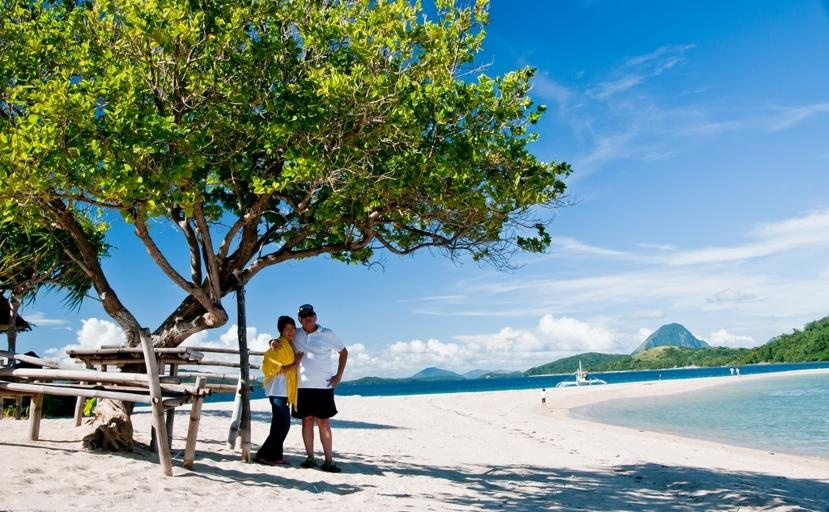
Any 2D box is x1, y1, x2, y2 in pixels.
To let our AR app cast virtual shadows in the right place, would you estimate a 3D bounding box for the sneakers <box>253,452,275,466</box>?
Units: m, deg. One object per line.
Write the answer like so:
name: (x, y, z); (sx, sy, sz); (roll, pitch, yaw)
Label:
sneakers: (-3.721, 5.020, 12.427); (0.422, 0.153, 0.260); (14, -21, 17)
